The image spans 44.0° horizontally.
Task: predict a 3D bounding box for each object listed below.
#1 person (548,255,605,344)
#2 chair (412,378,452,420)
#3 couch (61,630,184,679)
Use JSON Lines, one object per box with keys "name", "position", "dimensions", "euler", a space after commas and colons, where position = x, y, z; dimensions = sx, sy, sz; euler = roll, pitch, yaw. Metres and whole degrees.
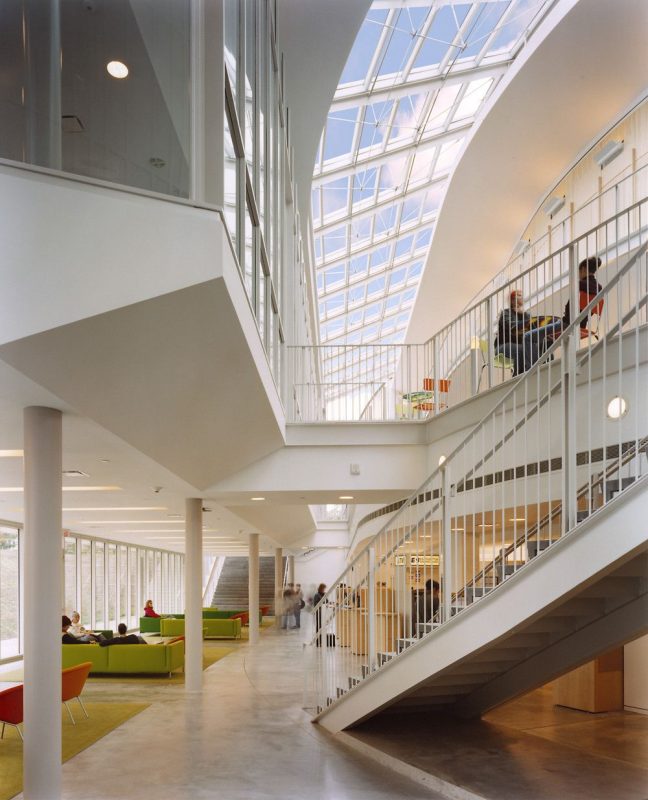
{"name": "person", "position": [2.499, -0.939, 7.837], "dimensions": [0.362, 0.963, 0.434], "euler": [2, -1, -31]}
{"name": "chair", "position": [1.550, -0.038, 11.495], "dimensions": [0.407, 0.486, 0.602], "euler": [2, 0, -16]}
{"name": "couch", "position": [-3.352, 4.384, 13.585], "dimensions": [1.949, 0.597, 0.895], "euler": [3, -16, -13]}
